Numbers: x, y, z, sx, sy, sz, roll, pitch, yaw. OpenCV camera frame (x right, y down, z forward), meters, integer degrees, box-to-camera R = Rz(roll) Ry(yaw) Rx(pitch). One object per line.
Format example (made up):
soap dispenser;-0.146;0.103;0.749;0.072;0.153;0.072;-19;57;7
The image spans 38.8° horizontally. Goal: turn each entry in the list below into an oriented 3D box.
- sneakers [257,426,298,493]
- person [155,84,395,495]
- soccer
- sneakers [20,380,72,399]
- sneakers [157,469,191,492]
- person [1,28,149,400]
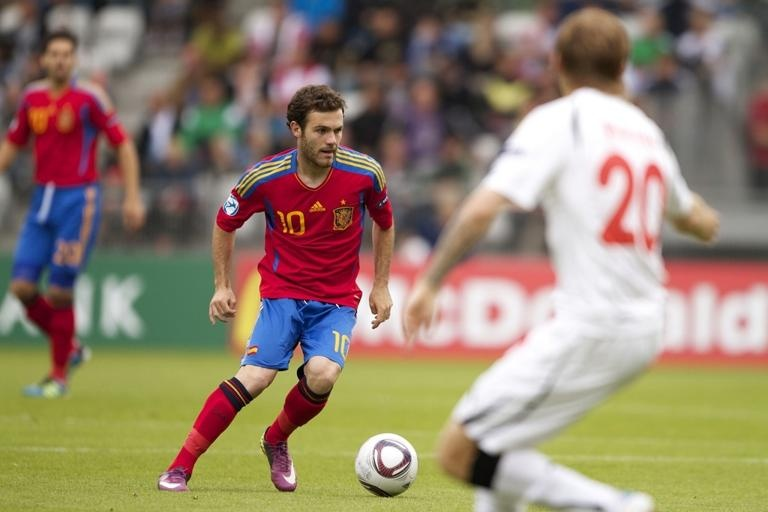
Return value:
sneakers;-0.766;1.525;7.939;0.155;0.179;0.417;-12;60;-25
person;-0.679;0.218;7.934;1.482;2.908;0.733;1;3;-3
soccer;-0.018;1.493;7.801;0.419;0.400;0.406;-12;58;-13
sneakers;-2.961;1.202;9.507;0.402;0.155;0.156;2;45;-35
sneakers;-1.490;1.573;7.651;0.214;0.139;0.161;0;3;-10
person;-2.886;-0.348;9.724;1.337;3.280;0.602;1;3;7
